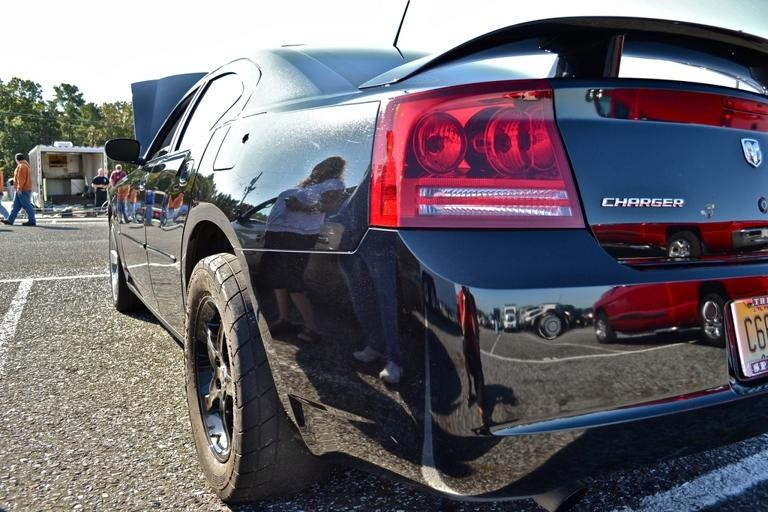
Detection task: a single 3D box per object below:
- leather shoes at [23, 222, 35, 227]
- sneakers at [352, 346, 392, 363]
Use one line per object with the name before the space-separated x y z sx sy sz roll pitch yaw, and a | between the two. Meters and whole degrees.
leather shoes | -10.521 -0.943 14.365 0.389 0.148 0.134 10 12 6
sneakers | -0.039 0.298 1.508 0.042 0.050 0.125 -8 10 -43
